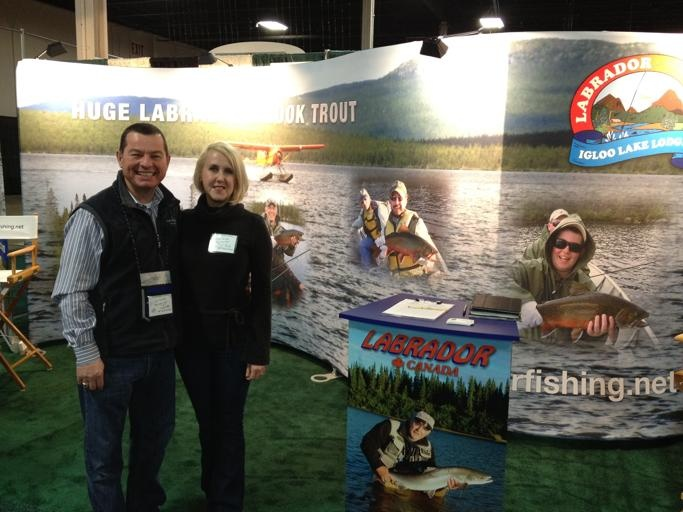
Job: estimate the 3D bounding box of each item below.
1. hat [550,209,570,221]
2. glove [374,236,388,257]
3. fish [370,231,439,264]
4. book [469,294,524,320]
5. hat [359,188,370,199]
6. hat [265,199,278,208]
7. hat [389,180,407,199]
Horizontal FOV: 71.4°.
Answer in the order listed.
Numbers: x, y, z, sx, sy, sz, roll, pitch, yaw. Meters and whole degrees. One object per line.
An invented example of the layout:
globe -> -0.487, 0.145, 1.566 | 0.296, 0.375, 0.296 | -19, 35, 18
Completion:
hat -> 1.687, -0.324, 3.693 | 0.088, 0.044, 0.117 | -17, -13, -1
glove -> 0.376, -0.099, 4.486 | 0.119, 0.162, 0.093 | -7, -3, 19
fish -> 0.583, -0.100, 4.288 | 0.603, 0.241, 0.045 | 8, 10, 40
book -> 0.913, 0.291, 2.819 | 0.272, 0.078, 0.330 | 4, 8, 18
hat -> 0.215, -0.599, 4.581 | 0.066, 0.096, 0.042 | -9, -1, 35
hat -> -0.793, -0.585, 5.328 | 0.103, 0.064, 0.107 | -1, 7, 1
hat -> 0.512, -0.606, 4.304 | 0.119, 0.103, 0.172 | 4, -22, 20
